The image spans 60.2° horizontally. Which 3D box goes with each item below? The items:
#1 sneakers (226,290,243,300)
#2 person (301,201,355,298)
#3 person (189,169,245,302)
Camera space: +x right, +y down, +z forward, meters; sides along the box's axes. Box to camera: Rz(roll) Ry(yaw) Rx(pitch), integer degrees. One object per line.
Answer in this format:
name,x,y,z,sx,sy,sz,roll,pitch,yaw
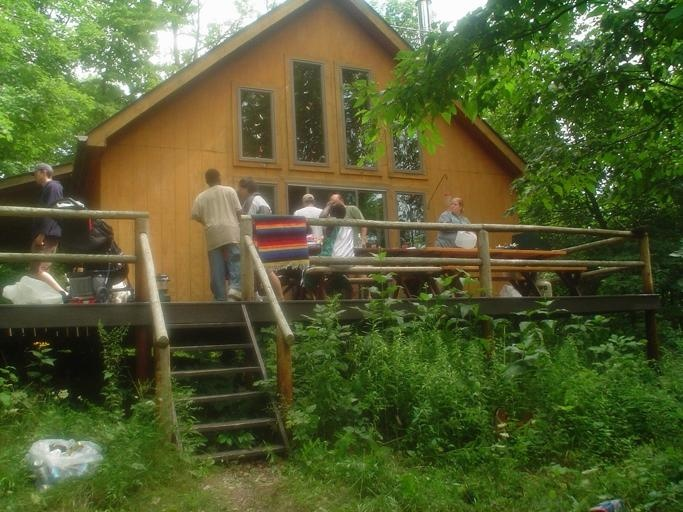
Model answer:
sneakers,-1.480,0.518,8.165,0.159,0.170,0.196,-6,6,-44
person,-0.205,-0.200,9.219,0.817,1.677,1.190,-2,-8,2
person,-1.744,-0.334,8.559,0.566,2.023,1.065,4,-10,-34
